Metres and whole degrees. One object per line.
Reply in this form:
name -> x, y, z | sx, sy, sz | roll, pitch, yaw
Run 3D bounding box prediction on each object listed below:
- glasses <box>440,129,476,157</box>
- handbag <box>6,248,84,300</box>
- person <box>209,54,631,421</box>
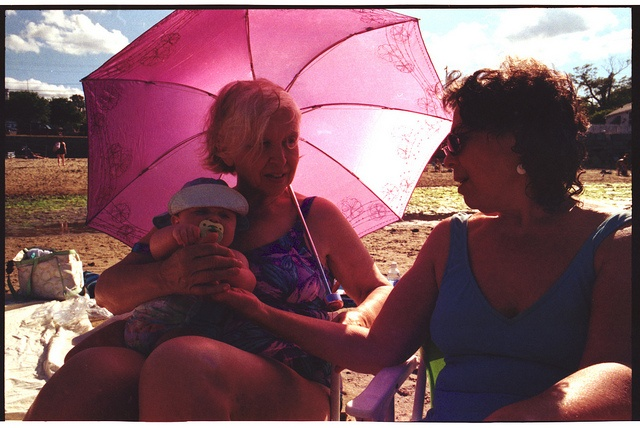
glasses -> 0.650, -0.345, 2.671 | 0.111, 0.037, 0.106 | -18, -18, -27
handbag -> -2.942, 0.645, 6.065 | 0.725, 0.517, 0.569 | -1, -6, 12
person -> 0.804, 0.129, 2.606 | 1.182, 1.733, 0.458 | 2, 2, 34
